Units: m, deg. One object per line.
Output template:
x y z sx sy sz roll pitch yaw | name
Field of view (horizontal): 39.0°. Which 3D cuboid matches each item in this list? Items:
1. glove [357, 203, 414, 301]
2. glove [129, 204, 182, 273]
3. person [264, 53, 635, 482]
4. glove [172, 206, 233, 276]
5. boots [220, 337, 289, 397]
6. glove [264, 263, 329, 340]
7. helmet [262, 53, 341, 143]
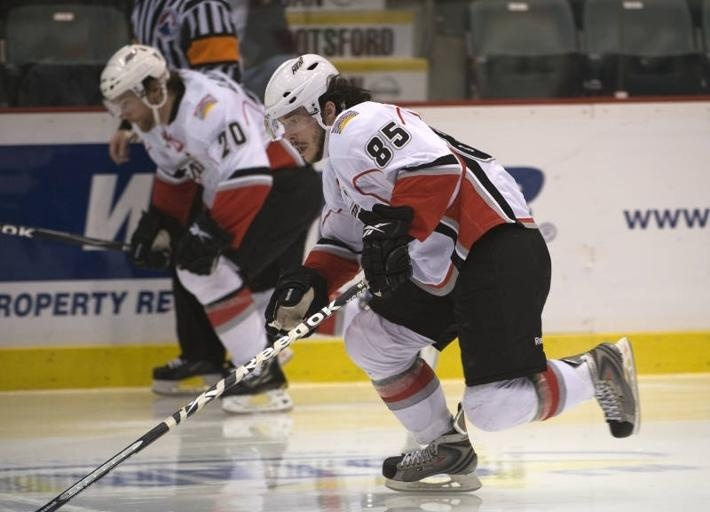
0.125 -0.028 3.978 0.226 0.338 0.129 1 -3 28 | glove
-1.022 -0.095 5.188 0.271 0.328 0.147 29 -7 -20 | glove
0.387 0.062 4.277 1.558 1.813 0.631 -1 13 7 | person
-0.785 -0.063 5.185 0.308 0.316 0.130 43 7 32 | glove
-0.540 0.587 5.415 0.441 0.285 0.140 -8 0 23 | boots
-0.270 0.199 4.279 0.238 0.315 0.121 43 15 31 | glove
-0.242 -0.689 4.438 0.361 0.311 0.278 -24 7 1 | helmet
